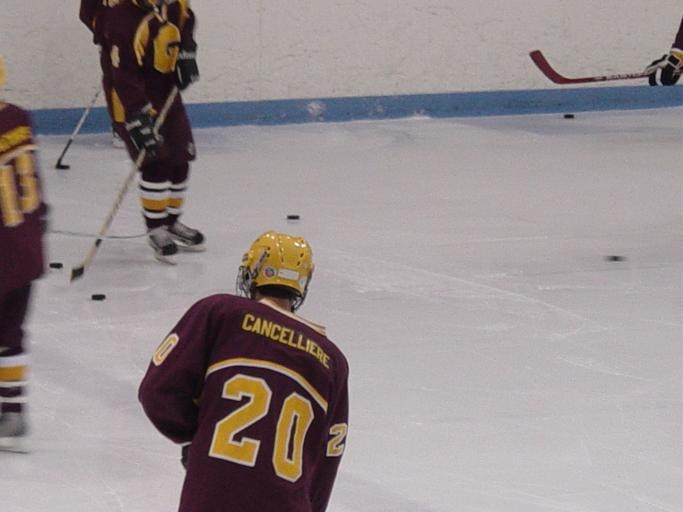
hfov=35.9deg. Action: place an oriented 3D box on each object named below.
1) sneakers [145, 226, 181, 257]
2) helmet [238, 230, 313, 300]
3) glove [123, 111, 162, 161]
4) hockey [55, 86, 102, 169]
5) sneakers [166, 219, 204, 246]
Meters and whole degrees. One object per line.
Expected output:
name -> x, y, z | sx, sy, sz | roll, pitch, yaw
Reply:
sneakers -> -1.111, -0.081, 6.579 | 0.106, 0.115, 0.271 | -29, 57, -17
helmet -> -0.285, 0.027, 4.858 | 0.298, 0.309, 0.340 | 15, -14, -13
glove -> -1.179, -0.733, 6.377 | 0.202, 0.282, 0.129 | -29, 5, -8
hockey -> -2.193, -1.082, 8.753 | 0.232, 0.839, 0.065 | 26, -11, 31
sneakers -> -1.034, -0.134, 6.755 | 0.305, 0.103, 0.132 | 23, -7, 15
